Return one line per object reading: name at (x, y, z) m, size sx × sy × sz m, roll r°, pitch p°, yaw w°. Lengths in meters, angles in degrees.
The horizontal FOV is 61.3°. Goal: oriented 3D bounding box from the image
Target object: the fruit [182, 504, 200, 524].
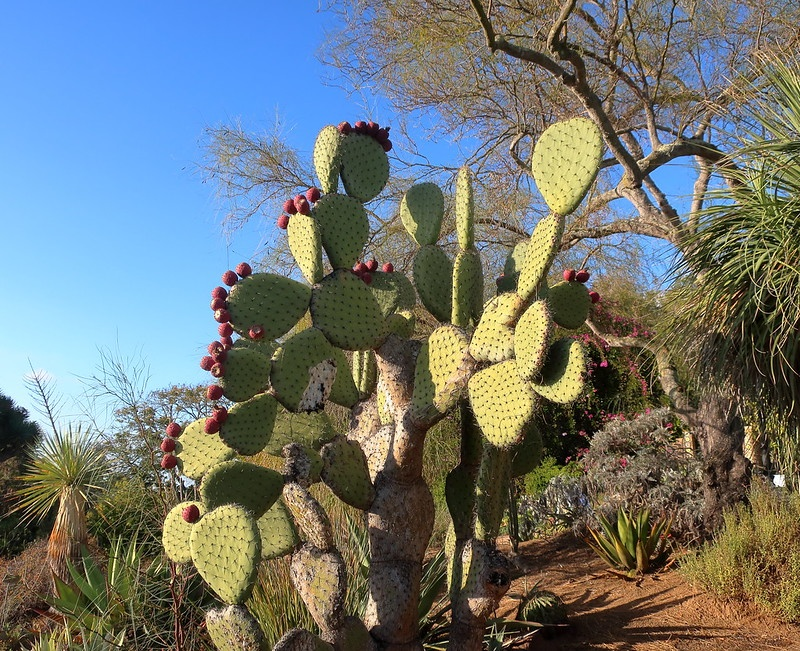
fruit at (-1.153, 1.036, 3.767) m, size 0.090 × 0.119 × 0.109 m, roll 3°, pitch -25°, yaw 1°
